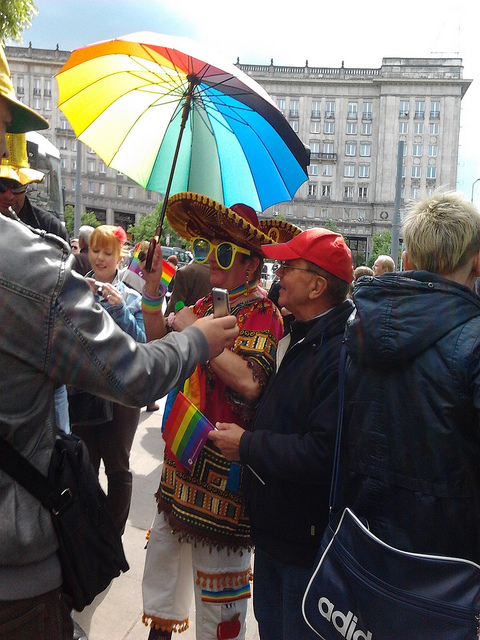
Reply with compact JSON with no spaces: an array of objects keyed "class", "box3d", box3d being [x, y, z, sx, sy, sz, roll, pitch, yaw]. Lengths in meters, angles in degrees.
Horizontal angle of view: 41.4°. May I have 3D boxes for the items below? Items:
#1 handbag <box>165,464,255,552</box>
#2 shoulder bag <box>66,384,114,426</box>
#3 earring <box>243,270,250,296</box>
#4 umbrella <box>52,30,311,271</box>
[{"class":"handbag","box3d":[-0.104,0.694,2.454,0.300,0.247,0.315,8,-2,14]},{"class":"shoulder bag","box3d":[-0.774,0.457,3.315,0.283,0.220,0.186,6,4,-25]},{"class":"earring","box3d":[0.031,-0.152,2.611,0.015,0.074,0.028,9,4,36]},{"class":"umbrella","box3d":[-0.293,-0.657,2.806,1.174,0.629,0.903,8,4,4]}]
